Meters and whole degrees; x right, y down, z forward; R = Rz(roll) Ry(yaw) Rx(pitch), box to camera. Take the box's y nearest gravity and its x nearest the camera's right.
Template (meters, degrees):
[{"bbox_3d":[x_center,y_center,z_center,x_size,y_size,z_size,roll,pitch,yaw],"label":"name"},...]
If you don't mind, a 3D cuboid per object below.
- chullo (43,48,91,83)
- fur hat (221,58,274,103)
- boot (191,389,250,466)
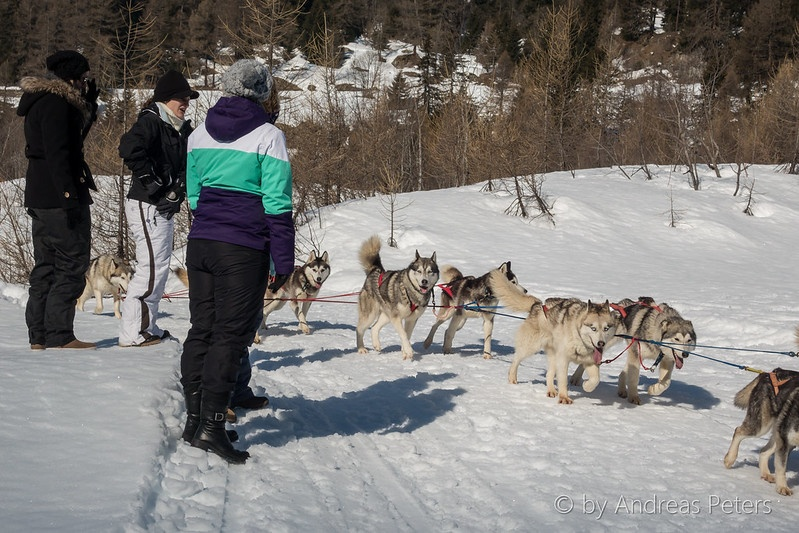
[{"bbox_3d":[-5.008,-3.066,11.492,0.581,0.448,0.456,-22,54,-27],"label":"chullo"},{"bbox_3d":[-2.014,-2.512,10.052,0.505,0.529,0.609,8,20,-7],"label":"fur hat"},{"bbox_3d":[-2.415,2.103,9.911,1.026,0.978,0.556,8,0,-20],"label":"boot"}]
